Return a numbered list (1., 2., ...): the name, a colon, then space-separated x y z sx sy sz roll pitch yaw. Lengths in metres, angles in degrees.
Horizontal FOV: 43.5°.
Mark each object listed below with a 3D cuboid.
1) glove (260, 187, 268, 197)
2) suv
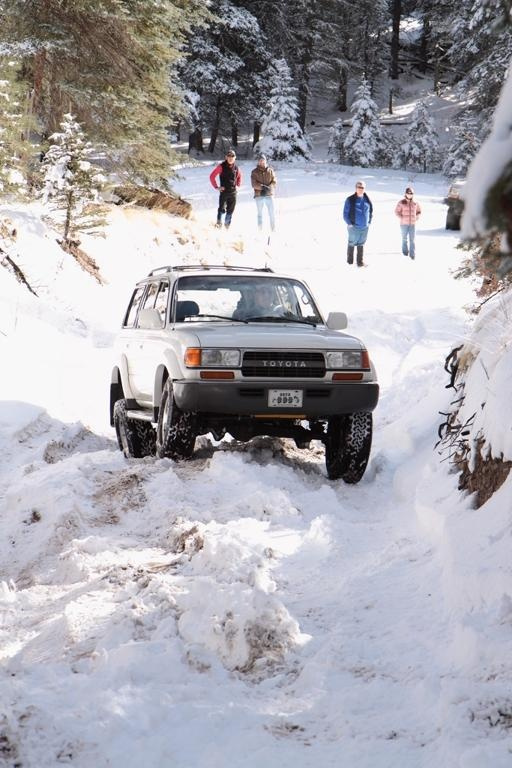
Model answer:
1. glove: 0.205 -5.191 17.209 0.145 0.201 0.060 3 27 -3
2. suv: -0.281 -0.187 6.448 1.580 1.674 2.958 2 -5 -17
